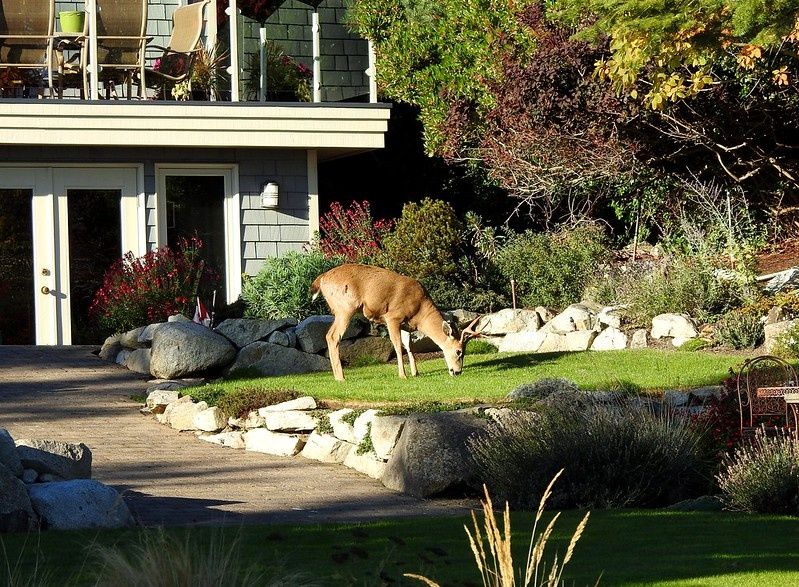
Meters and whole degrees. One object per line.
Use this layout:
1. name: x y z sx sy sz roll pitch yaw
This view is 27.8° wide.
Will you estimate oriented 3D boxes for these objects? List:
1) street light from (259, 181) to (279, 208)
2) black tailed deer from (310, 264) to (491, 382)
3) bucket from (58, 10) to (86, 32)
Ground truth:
1. street light: -2.420 -1.872 30.440 0.394 0.686 0.464 0 1 6
2. black tailed deer: -0.151 0.425 25.519 2.282 1.681 1.212 -2 -1 -2
3. bucket: -6.111 -5.052 30.189 0.447 0.362 0.465 0 3 0
